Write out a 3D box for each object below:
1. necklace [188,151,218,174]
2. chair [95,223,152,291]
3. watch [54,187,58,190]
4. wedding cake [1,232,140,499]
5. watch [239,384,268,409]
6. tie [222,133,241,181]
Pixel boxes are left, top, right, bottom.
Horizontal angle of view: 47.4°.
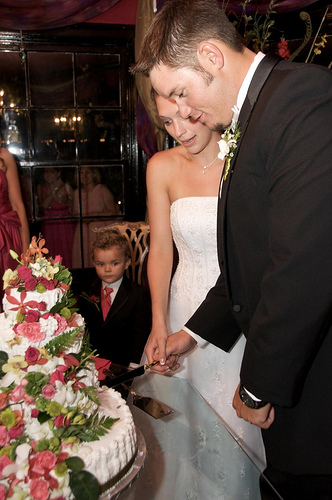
[{"bbox_3d":[0.192,-0.423,1.901,0.118,0.075,0.019,2,5,28],"label":"necklace"},{"bbox_3d":[-0.242,0.041,2.780,0.465,0.667,0.486,-1,-3,0],"label":"chair"},{"bbox_3d":[-1.215,-0.678,4.165,0.017,0.022,0.027,-13,44,-29],"label":"watch"},{"bbox_3d":[-0.179,0.269,0.790,0.305,0.553,0.298,-2,16,-15],"label":"wedding cake"},{"bbox_3d":[0.212,0.362,0.927,0.072,0.053,0.061,1,5,16],"label":"watch"},{"bbox_3d":[0.198,-0.283,1.151,0.041,0.135,0.036,-3,47,-2],"label":"tie"}]
